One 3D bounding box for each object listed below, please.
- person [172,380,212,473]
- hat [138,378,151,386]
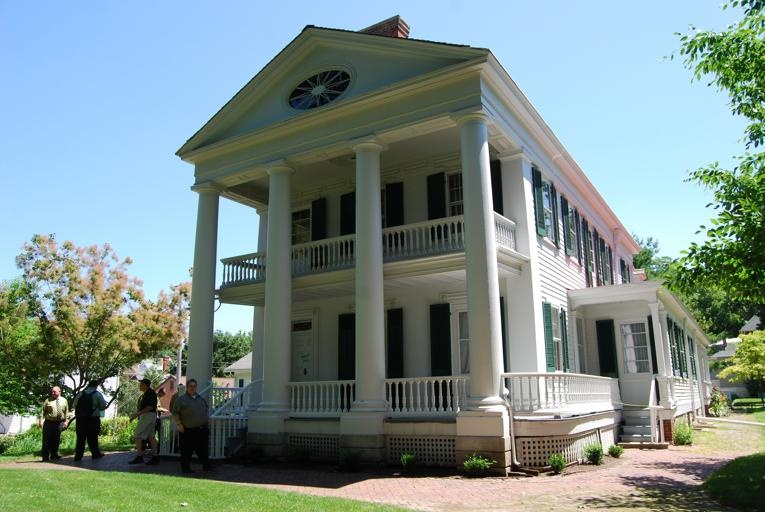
[{"bbox_3d":[-4.985,4.442,13.764,0.802,2.326,1.058,-2,-17,1],"label":"person"},{"bbox_3d":[-6.745,3.575,14.754,0.352,0.185,0.259,11,-6,34],"label":"hat"}]
